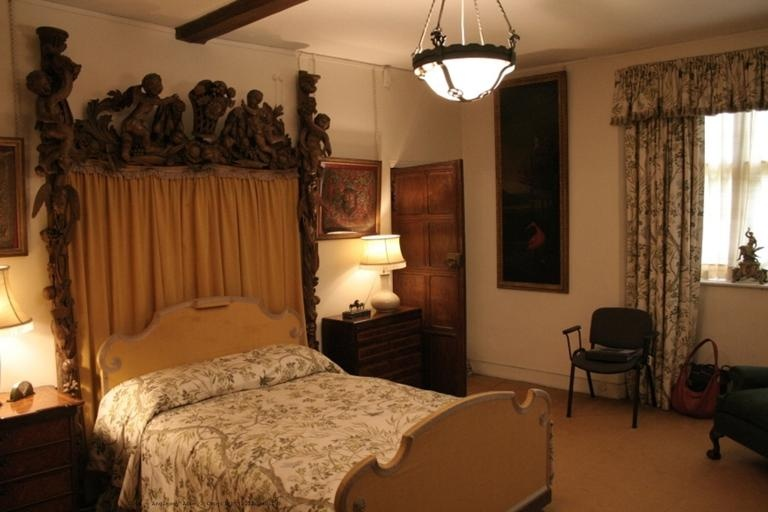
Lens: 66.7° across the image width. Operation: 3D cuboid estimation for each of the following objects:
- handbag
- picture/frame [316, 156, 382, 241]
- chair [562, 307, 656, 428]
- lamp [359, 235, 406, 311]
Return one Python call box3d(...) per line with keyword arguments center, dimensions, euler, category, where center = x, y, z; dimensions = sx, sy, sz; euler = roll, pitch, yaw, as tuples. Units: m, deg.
box3d(center=(3.409, 1.315, 6.328), dimensions=(0.481, 0.888, 0.256), euler=(6, -17, 40), category="handbag")
box3d(center=(-0.391, -0.658, 6.678), dimensions=(1.053, 0.920, 0.082), euler=(5, 6, 42), category="picture/frame")
box3d(center=(2.485, 1.164, 6.364), dimensions=(0.848, 1.121, 0.756), euler=(1, 6, 38), category="chair")
box3d(center=(-0.029, 0.207, 6.736), dimensions=(0.569, 0.841, 0.568), euler=(-3, 3, 35), category="lamp")
